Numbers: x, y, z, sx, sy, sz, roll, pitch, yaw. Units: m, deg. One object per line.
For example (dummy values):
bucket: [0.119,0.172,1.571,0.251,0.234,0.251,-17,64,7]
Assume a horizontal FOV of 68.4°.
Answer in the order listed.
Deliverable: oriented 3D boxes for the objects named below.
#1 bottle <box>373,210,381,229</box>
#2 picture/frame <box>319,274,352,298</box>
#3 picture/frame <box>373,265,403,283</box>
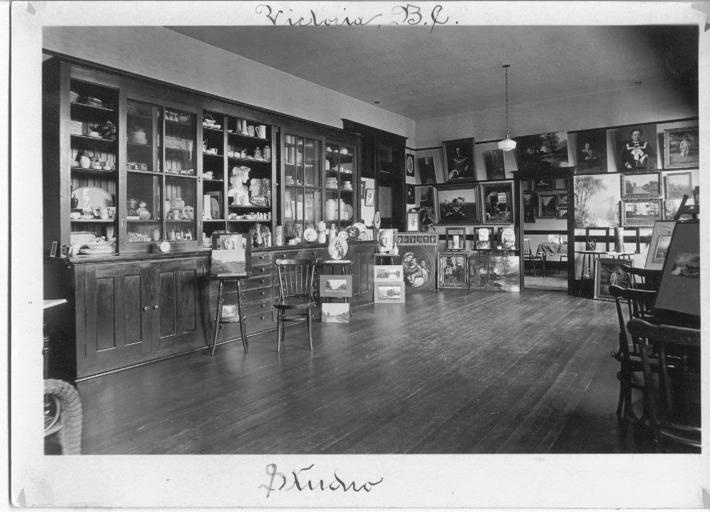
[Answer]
bottle: [0.389,-0.623,9.217,0.067,0.303,0.294,3,3,17]
picture/frame: [-0.270,0.373,7.040,0.490,0.365,0.257,0,2,-4]
picture/frame: [0.544,0.300,8.549,0.457,0.324,0.255,1,1,0]
